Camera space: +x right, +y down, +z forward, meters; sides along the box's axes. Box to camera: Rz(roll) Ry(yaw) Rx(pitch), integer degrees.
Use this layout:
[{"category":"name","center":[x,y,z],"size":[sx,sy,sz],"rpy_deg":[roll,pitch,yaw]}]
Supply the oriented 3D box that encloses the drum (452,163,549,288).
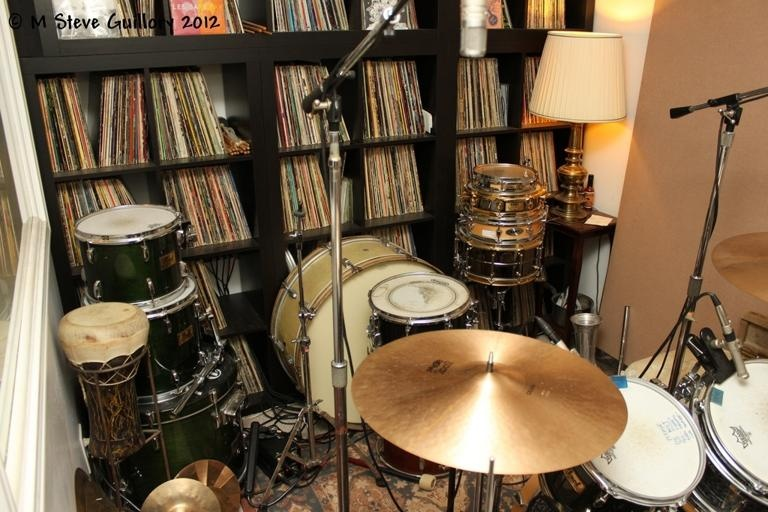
[{"category":"drum","center":[0.623,-0.196,3.685],"size":[0.583,0.675,0.661],"rpy_deg":[1,24,4]}]

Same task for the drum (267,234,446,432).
[{"category":"drum","center":[-0.155,0.355,2.854],"size":[0.831,0.901,0.429],"rpy_deg":[-13,23,-30]}]

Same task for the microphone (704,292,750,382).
[{"category":"microphone","center":[1.613,0.379,2.779],"size":[0.071,0.410,0.079],"rpy_deg":[-24,8,-31]}]
